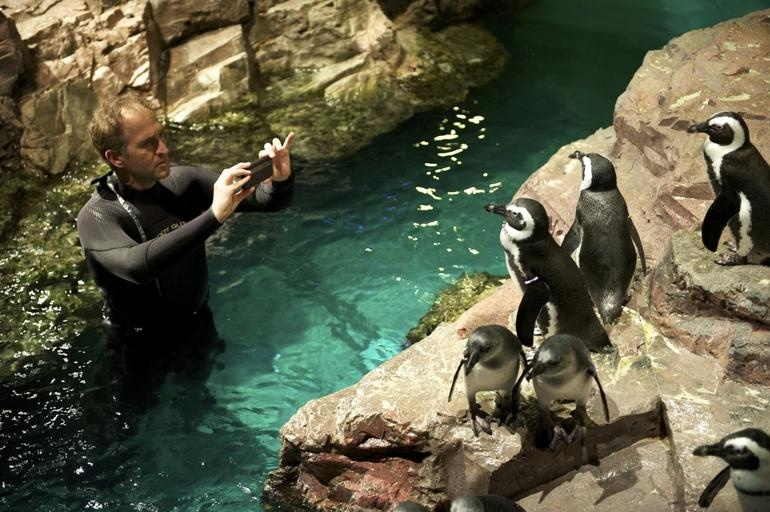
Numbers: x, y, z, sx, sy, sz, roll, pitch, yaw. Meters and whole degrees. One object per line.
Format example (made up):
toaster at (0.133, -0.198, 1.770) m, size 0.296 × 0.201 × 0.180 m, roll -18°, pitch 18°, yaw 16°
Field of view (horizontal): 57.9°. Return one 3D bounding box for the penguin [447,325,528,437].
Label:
penguin at (0.680, 0.872, 4.877) m, size 0.549 × 0.816 × 0.580 m, roll 1°, pitch 55°, yaw 4°

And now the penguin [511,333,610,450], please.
penguin at (1.205, 0.878, 4.657) m, size 0.587 × 0.693 × 0.859 m, roll -2°, pitch 20°, yaw 25°

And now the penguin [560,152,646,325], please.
penguin at (1.735, -0.122, 5.765) m, size 0.702 × 1.340 × 0.996 m, roll 2°, pitch -8°, yaw 3°

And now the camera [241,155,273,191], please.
camera at (-0.950, -0.606, 5.249) m, size 0.196 × 0.169 × 0.468 m, roll -15°, pitch 24°, yaw 7°

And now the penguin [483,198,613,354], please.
penguin at (1.223, 0.166, 5.188) m, size 0.651 × 1.233 × 0.493 m, roll -15°, pitch 26°, yaw 10°

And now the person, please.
person at (-1.704, -0.041, 5.516) m, size 1.114 × 3.339 × 1.473 m, roll 10°, pitch 18°, yaw 37°
